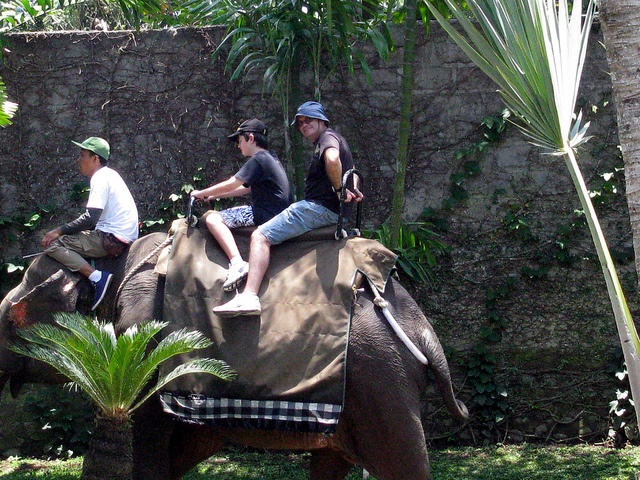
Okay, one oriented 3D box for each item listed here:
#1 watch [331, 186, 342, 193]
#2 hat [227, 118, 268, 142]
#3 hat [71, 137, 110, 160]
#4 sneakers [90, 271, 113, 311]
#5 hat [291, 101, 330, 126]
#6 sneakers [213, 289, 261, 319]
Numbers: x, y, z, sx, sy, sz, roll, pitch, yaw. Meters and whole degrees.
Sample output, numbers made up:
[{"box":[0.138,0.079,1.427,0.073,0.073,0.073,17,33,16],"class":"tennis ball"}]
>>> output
[{"box":[0.129,-0.388,5.778,0.051,0.036,0.066,9,-3,2],"class":"watch"},{"box":[-0.603,-0.916,6.261,0.274,0.151,0.183,2,1,4],"class":"hat"},{"box":[-1.926,-0.780,6.325,0.281,0.130,0.172,20,6,-17],"class":"hat"},{"box":[-1.734,0.386,5.931,0.128,0.311,0.107,20,-1,-17],"class":"sneakers"},{"box":[-0.054,-1.028,6.065,0.234,0.124,0.186,-2,2,11],"class":"hat"},{"box":[-0.584,0.473,5.546,0.430,0.141,0.202,0,38,2],"class":"sneakers"}]
